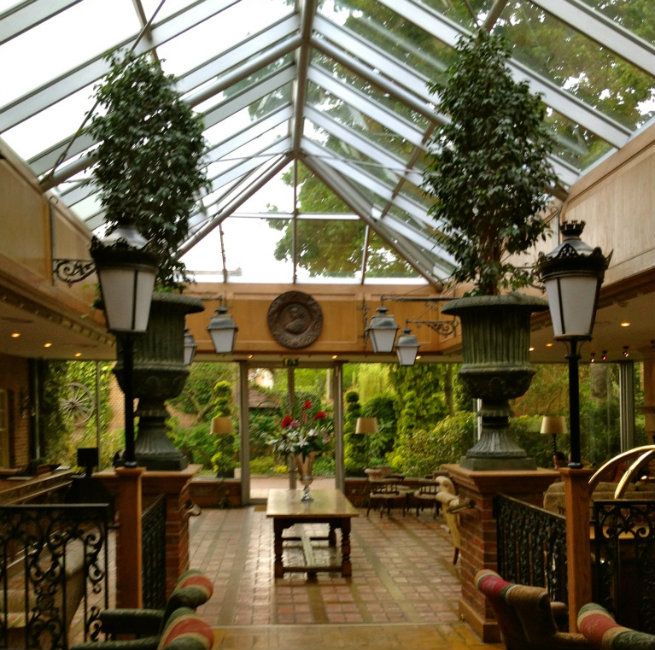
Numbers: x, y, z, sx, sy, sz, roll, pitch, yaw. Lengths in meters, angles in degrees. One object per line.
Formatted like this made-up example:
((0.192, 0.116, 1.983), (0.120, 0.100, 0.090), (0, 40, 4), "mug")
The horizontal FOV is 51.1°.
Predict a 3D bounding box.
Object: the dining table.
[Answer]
((-0.212, 2.410, 8.066), (0.951, 0.832, 2.137), (1, -8, -4), "dining table")

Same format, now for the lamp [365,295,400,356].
((0.647, 0.016, 7.756), (0.321, 0.606, 0.374), (0, -6, -13), "lamp")

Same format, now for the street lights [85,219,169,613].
((-1.066, 0.454, 3.500), (0.341, 1.982, 0.412), (2, -7, -16), "street lights")

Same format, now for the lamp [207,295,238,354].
((-1.271, 0.036, 8.223), (0.387, 0.704, 0.400), (7, -19, -39), "lamp")

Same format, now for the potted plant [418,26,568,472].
((1.244, -0.759, 5.207), (0.948, 3.651, 0.893), (-1, -7, 10), "potted plant")

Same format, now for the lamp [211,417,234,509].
((-2.056, 2.740, 13.596), (0.358, 1.747, 0.362), (-4, -13, 4), "lamp")

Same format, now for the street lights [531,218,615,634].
((1.273, 0.464, 3.473), (0.365, 2.121, 0.400), (-3, -8, 24), "street lights")
